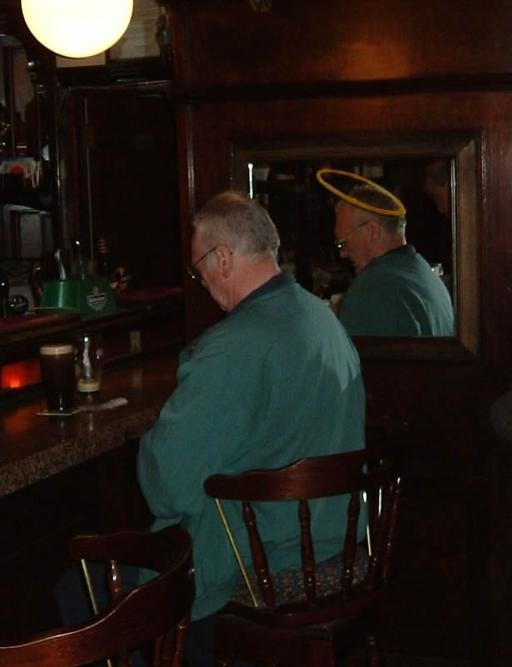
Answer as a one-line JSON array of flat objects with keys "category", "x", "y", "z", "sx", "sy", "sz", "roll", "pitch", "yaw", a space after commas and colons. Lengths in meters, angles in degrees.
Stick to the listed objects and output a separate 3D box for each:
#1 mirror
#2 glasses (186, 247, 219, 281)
[{"category": "mirror", "x": 0.353, "y": -0.287, "z": 1.974, "sx": 0.856, "sy": 0.773, "sz": 0.036, "roll": 0, "pitch": 8, "yaw": 8}, {"category": "glasses", "x": -0.154, "y": -0.185, "z": 1.649, "sx": 0.021, "sy": 0.077, "sz": 0.076, "roll": 44, "pitch": 10, "yaw": 8}]
